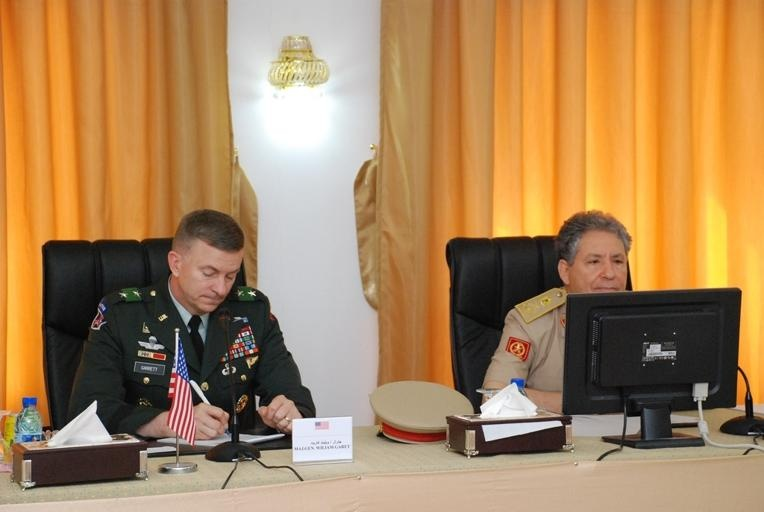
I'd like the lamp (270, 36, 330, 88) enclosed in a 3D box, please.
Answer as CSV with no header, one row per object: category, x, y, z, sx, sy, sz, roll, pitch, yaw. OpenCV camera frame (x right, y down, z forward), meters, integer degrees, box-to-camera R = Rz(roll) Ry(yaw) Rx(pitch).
lamp,-0.461,-1.060,3.995,0.359,0.268,0.349,-5,10,-17

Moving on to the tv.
tv,0.911,0.374,2.419,0.629,0.496,0.249,-1,2,-11

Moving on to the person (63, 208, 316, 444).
person,-0.803,0.267,2.878,0.907,1.348,0.736,4,-11,-26

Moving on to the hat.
hat,0.148,0.549,2.500,0.335,0.106,0.344,-7,-4,-7

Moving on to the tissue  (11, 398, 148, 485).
tissue ,-0.817,0.451,1.989,0.315,0.222,0.201,0,1,-21

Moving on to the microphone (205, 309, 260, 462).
microphone,-0.454,0.387,2.260,0.200,0.486,0.176,0,-7,-10

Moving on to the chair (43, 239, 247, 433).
chair,-0.996,0.312,3.275,0.603,0.899,0.736,2,-5,-21

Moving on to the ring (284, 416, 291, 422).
ring,-0.329,0.581,2.571,0.017,0.016,0.007,11,-40,-30
